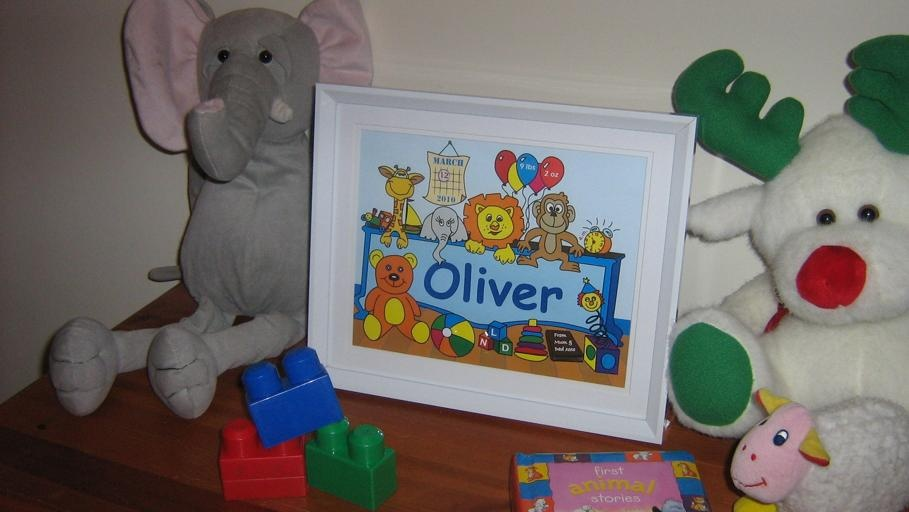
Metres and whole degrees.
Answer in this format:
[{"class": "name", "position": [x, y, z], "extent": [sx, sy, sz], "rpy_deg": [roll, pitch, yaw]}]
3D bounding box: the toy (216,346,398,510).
[{"class": "toy", "position": [-0.254, 0.321, 1.238], "extent": [0.290, 0.239, 0.097], "rpy_deg": [-4, 30, 4]}]

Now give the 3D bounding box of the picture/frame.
[{"class": "picture/frame", "position": [0.089, 0.028, 1.290], "extent": [0.741, 0.543, 0.078], "rpy_deg": [5, 13, 10]}]
